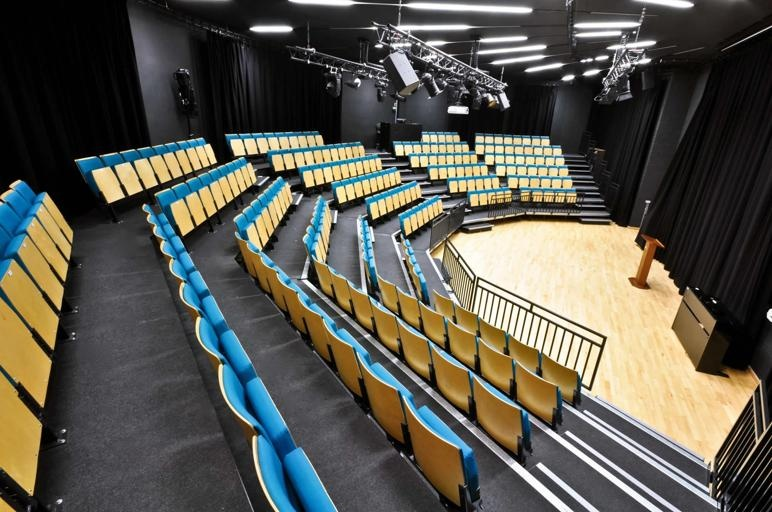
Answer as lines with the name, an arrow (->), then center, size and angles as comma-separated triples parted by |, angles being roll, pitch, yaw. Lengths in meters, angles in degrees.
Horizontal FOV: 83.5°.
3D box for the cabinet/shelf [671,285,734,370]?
cabinet/shelf -> 4.281, 0.902, 6.019 | 0.220, 0.615, 0.682 | 12, 27, 4
